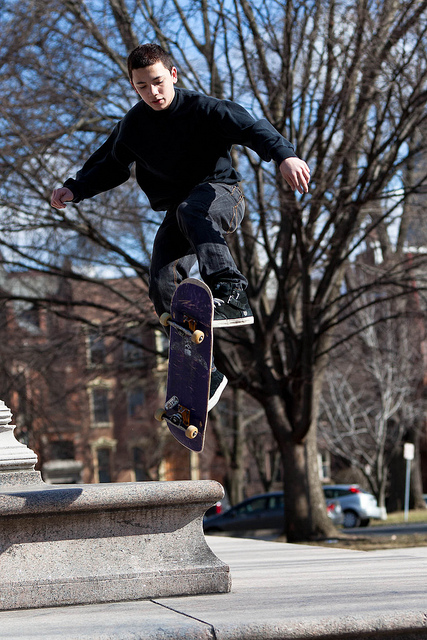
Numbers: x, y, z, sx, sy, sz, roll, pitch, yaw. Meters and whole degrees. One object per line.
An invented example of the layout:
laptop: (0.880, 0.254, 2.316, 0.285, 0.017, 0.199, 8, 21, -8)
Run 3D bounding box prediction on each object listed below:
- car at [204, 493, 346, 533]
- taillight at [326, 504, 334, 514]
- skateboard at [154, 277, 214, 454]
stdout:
car: (0.768, 3.199, 18.805, 1.997, 0.699, 0.922, -7, -13, 38)
taillight: (1.335, 2.144, 13.030, 0.037, 0.103, 0.155, -1, -6, -23)
skateboard: (-0.153, 0.252, 6.737, 0.141, 1.016, 0.351, -3, 3, -35)
